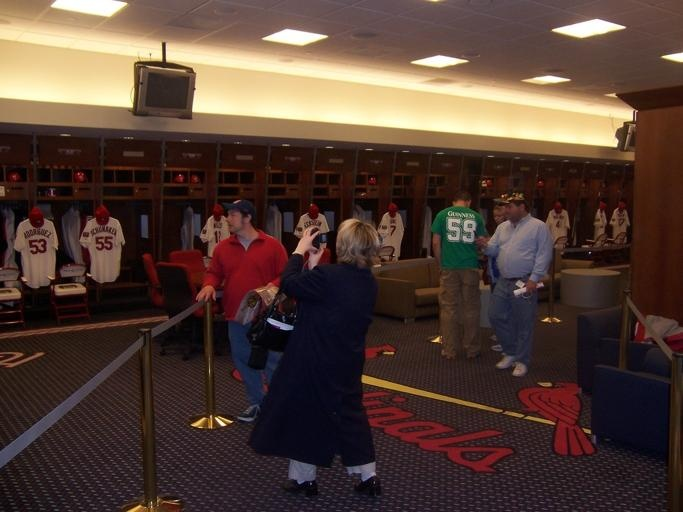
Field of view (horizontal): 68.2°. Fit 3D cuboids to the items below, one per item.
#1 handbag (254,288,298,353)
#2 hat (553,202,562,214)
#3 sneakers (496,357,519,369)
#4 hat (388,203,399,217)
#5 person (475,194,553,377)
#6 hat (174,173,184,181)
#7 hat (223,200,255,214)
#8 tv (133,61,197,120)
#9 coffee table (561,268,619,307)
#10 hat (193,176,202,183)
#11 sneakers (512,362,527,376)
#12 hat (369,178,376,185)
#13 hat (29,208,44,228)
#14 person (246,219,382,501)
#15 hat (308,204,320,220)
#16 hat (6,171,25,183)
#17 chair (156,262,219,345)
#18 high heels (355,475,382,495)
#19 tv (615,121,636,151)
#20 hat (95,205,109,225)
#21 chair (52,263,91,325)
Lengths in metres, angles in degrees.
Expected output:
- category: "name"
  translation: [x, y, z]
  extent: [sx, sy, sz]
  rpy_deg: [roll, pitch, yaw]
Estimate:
- category: "handbag"
  translation: [-0.409, 0.395, 3.262]
  extent: [0.315, 0.382, 0.166]
  rpy_deg: [21, 8, -41]
- category: "hat"
  translation: [6.343, -1.408, 14.740]
  extent: [0.256, 0.345, 0.355]
  rpy_deg: [-2, 6, 19]
- category: "sneakers"
  translation: [1.903, 1.211, 5.791]
  extent: [0.280, 0.113, 0.099]
  rpy_deg: [4, 0, -38]
- category: "hat"
  translation: [1.183, -1.064, 11.682]
  extent: [0.242, 0.256, 0.278]
  rpy_deg: [2, 21, -2]
- category: "person"
  translation: [1.937, 0.296, 5.609]
  extent: [0.481, 1.961, 0.681]
  rpy_deg: [-4, 7, -32]
- category: "hat"
  translation: [-3.099, -1.486, 9.748]
  extent: [0.141, 0.176, 0.297]
  rpy_deg: [0, 6, 4]
- category: "hat"
  translation: [-0.824, -0.390, 4.089]
  extent: [0.193, 0.118, 0.271]
  rpy_deg: [5, 8, 41]
- category: "tv"
  translation: [-2.835, -2.631, 7.953]
  extent: [0.935, 0.801, 0.554]
  rpy_deg: [-6, 25, -38]
- category: "coffee table"
  translation: [4.728, 0.586, 9.565]
  extent: [1.070, 0.644, 1.097]
  rpy_deg: [2, 8, 38]
- category: "hat"
  translation: [-2.837, -1.480, 9.849]
  extent: [0.144, 0.162, 0.312]
  rpy_deg: [-1, 6, -9]
- category: "sneakers"
  translation: [1.953, 1.223, 5.521]
  extent: [0.153, 0.135, 0.153]
  rpy_deg: [2, 6, 18]
- category: "hat"
  translation: [0.758, -1.770, 12.036]
  extent: [0.218, 0.177, 0.121]
  rpy_deg: [-3, 7, -29]
- category: "hat"
  translation: [-4.826, -0.615, 8.003]
  extent: [0.184, 0.297, 0.154]
  rpy_deg: [-4, -25, -37]
- category: "person"
  translation: [-0.152, 0.528, 3.024]
  extent: [0.736, 1.471, 0.286]
  rpy_deg: [0, 6, 4]
- category: "hat"
  translation: [-0.569, -0.942, 10.736]
  extent: [0.216, 0.325, 0.214]
  rpy_deg: [0, -16, -12]
- category: "hat"
  translation: [-5.371, -1.307, 8.343]
  extent: [0.279, 0.235, 0.696]
  rpy_deg: [-4, 7, -32]
- category: "chair"
  translation: [-1.980, 0.559, 6.130]
  extent: [0.578, 0.838, 0.547]
  rpy_deg: [2, -7, 4]
- category: "high heels"
  translation: [0.180, 1.464, 3.281]
  extent: [0.100, 0.106, 0.200]
  rpy_deg: [0, 1, -30]
- category: "tv"
  translation: [6.781, -2.868, 12.059]
  extent: [0.365, 0.747, 1.328]
  rpy_deg: [3, 7, 26]
- category: "hat"
  translation: [-4.029, -0.680, 8.514]
  extent: [0.205, 0.328, 0.209]
  rpy_deg: [-3, 7, -26]
- category: "chair"
  translation: [-4.354, 0.551, 8.144]
  extent: [0.609, 0.809, 0.585]
  rpy_deg: [-3, 7, -32]
